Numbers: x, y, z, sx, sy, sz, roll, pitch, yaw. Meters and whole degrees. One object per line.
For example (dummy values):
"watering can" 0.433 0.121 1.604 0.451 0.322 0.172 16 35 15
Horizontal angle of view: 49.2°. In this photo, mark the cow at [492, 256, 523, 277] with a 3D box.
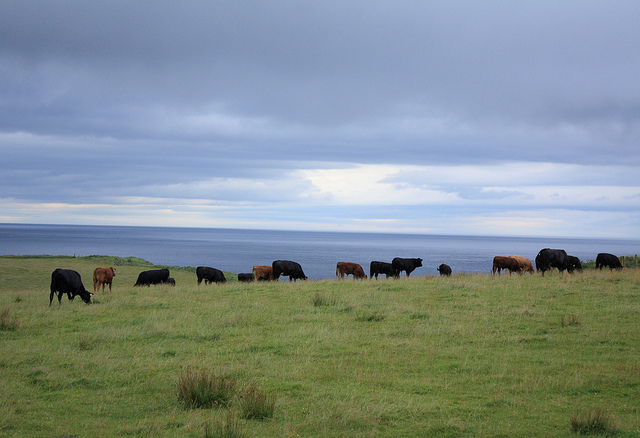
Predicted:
"cow" 13.448 3.251 50.315 1.845 1.221 5.880 -1 -4 16

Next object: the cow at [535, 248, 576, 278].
"cow" 16.352 3.060 48.336 3.515 1.898 1.051 4 -1 -29

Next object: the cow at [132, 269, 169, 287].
"cow" -11.143 3.863 46.920 2.242 0.985 0.994 3 -4 -31

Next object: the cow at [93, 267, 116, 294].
"cow" -12.957 3.704 42.336 0.645 1.604 2.538 -7 -7 11

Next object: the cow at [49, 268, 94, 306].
"cow" -12.592 3.382 35.142 1.851 1.775 1.988 -1 -4 21

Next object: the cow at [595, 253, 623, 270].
"cow" 21.042 3.014 51.135 1.624 1.129 4.113 -1 -4 22
